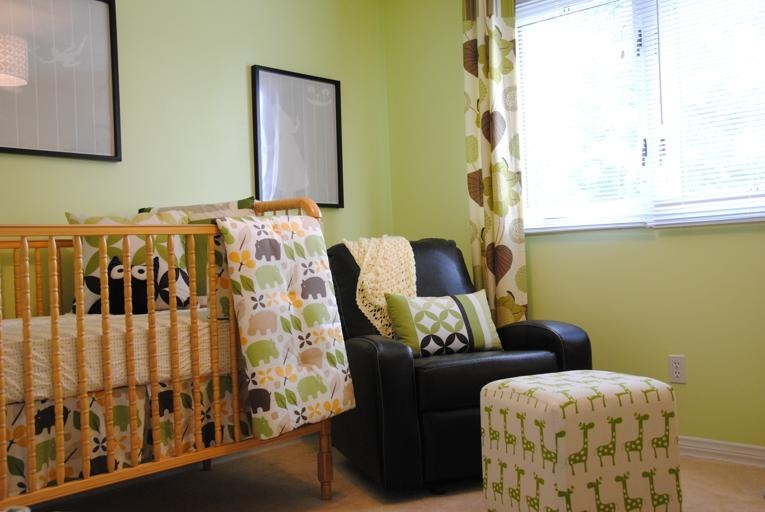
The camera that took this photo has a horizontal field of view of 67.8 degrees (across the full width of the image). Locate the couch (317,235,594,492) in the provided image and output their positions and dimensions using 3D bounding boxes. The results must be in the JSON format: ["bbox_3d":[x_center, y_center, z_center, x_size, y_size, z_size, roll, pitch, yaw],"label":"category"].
[{"bbox_3d":[0.383,0.614,3.378,1.271,1.387,1.292,-1,-9,-22],"label":"couch"}]
